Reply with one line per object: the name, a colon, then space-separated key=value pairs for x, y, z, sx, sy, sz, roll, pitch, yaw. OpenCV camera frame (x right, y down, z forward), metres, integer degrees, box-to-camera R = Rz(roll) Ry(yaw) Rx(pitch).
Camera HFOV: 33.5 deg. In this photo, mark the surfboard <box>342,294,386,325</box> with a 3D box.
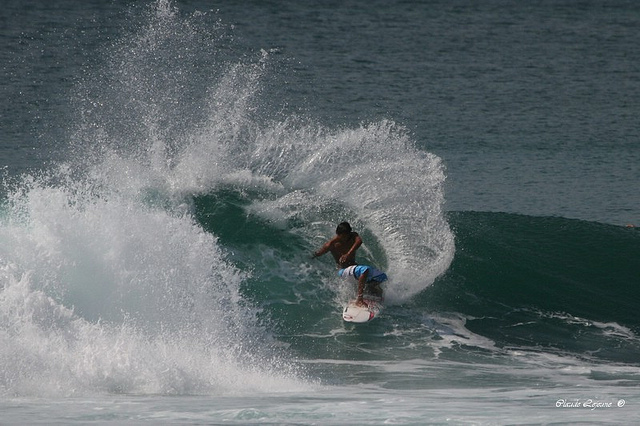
surfboard: x=1.090 y=2.598 z=29.022 sx=0.894 sy=1.602 sz=0.270 roll=22 pitch=112 yaw=15
